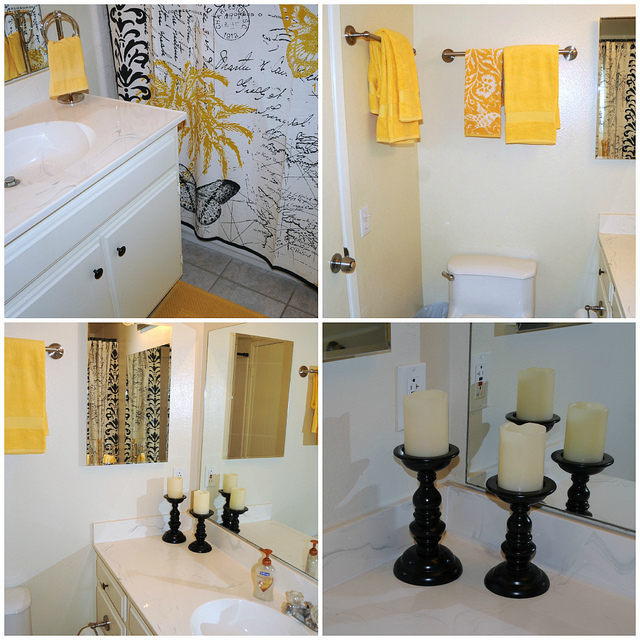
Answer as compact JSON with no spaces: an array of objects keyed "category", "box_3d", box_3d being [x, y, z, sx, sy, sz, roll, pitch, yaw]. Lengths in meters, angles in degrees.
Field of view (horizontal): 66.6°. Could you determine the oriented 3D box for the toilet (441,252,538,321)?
[{"category":"toilet","box_3d":[0.632,-0.116,1.833,0.310,0.248,0.196,8,29,32]}]
